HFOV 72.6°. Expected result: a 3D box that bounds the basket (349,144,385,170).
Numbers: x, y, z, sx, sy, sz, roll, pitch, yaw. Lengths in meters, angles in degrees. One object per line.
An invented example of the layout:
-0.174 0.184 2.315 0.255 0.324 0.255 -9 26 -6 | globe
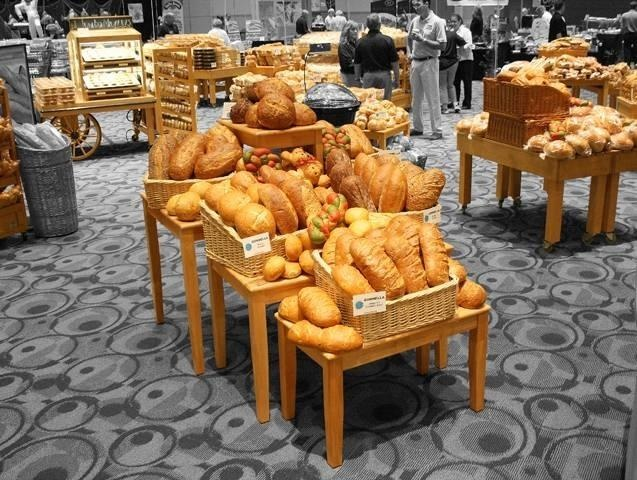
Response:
0.280 -0.465 2.463 0.213 0.090 0.249 -5 21 14 | basket

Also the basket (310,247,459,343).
0.289 0.209 1.668 0.399 0.130 0.415 -9 24 -20 | basket

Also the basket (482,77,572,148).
1.943 -1.184 4.012 0.477 0.513 0.744 -12 28 -15 | basket

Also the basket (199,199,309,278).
-0.306 -0.026 2.086 0.442 0.160 0.334 -15 25 -41 | basket

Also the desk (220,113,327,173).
-0.210 -0.612 2.506 0.325 0.323 0.389 -11 29 -25 | desk

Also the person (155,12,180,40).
-4.359 -6.167 12.444 0.536 0.825 2.004 -8 20 -16 | person

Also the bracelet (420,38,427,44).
1.856 -3.453 7.544 0.090 0.093 0.027 16 68 28 | bracelet

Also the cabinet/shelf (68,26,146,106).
-3.706 -3.111 7.654 1.200 1.233 1.395 -11 22 -24 | cabinet/shelf

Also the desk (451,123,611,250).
2.159 -0.587 4.493 0.844 0.806 1.424 -5 22 -15 | desk
